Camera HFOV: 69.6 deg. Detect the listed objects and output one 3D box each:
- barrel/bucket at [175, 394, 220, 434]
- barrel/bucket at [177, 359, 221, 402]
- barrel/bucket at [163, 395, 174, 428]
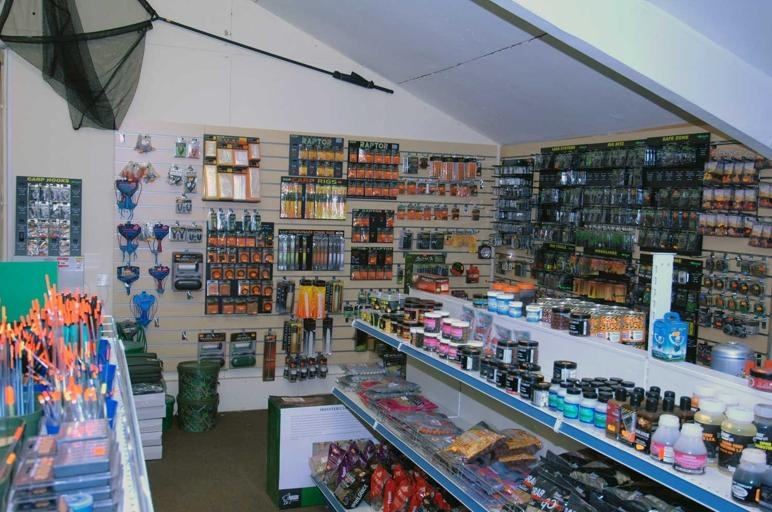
[{"bbox_3d":[-2.256,1.898,6.608,0.447,0.333,0.448,0,-4,0],"label":"barrel/bucket"},{"bbox_3d":[-2.225,1.478,6.650,0.455,0.326,0.447,3,0,0],"label":"barrel/bucket"},{"bbox_3d":[-2.579,1.870,6.603,0.107,0.405,0.264,-2,4,-10],"label":"barrel/bucket"}]
